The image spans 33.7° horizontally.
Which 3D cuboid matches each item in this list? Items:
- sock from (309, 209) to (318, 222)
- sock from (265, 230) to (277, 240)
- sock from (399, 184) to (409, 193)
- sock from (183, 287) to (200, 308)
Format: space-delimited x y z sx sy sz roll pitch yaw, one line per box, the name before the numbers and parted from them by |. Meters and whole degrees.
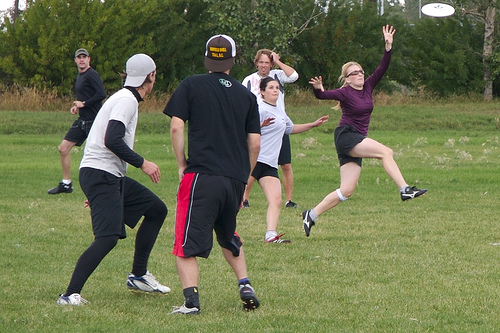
sock | 1.453 1.109 18.910 0.170 0.216 0.197 8 17 31
sock | 0.486 1.518 18.827 0.269 0.208 0.270 -1 15 -1
sock | 3.479 0.500 18.641 0.172 0.173 0.139 -3 -5 23
sock | -1.103 2.481 15.994 0.307 0.493 0.376 -3 0 -15
